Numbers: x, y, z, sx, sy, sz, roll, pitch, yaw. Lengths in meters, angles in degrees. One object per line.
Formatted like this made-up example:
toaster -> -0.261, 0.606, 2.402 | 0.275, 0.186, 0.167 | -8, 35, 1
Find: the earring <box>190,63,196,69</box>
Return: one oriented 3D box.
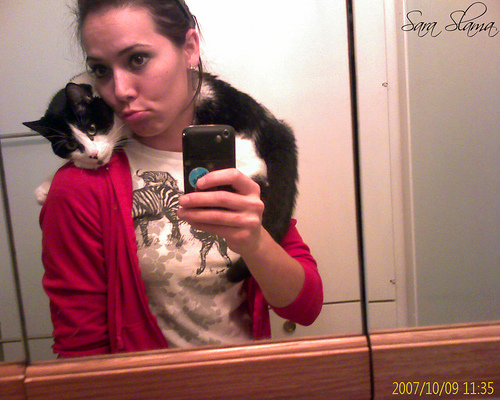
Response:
earring -> -0.105, -0.244, 0.823 | 0.007, 0.009, 0.003 | -2, 5, -5
